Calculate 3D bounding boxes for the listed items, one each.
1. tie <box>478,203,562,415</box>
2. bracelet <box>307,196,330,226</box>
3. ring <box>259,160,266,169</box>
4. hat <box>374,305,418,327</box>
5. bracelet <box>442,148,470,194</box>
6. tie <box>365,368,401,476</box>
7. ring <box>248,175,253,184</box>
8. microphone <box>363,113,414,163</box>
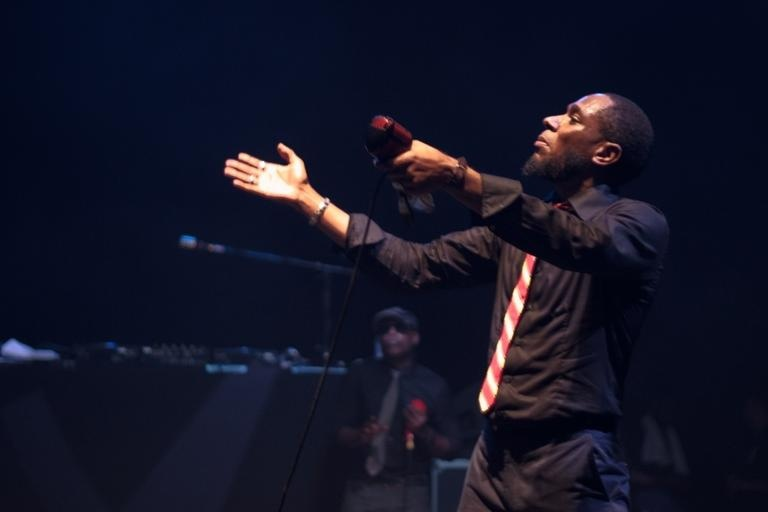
[{"bbox_3d":[0.623,0.230,3.595,0.140,1.030,0.040,19,-8,44],"label":"tie"},{"bbox_3d":[-0.297,-0.211,3.795,0.033,0.108,0.109,31,22,4],"label":"bracelet"},{"bbox_3d":[-0.579,-0.437,3.861,0.034,0.035,0.009,1,-9,0],"label":"ring"},{"bbox_3d":[0.075,0.386,5.205,0.169,0.173,0.082,-5,-1,18],"label":"hat"},{"bbox_3d":[0.310,-0.354,3.459,0.053,0.123,0.091,14,14,6],"label":"bracelet"},{"bbox_3d":[0.007,1.039,5.103,0.133,0.665,0.044,15,-23,0],"label":"tie"},{"bbox_3d":[-0.631,-0.360,3.812,0.024,0.034,0.012,6,1,-10],"label":"ring"},{"bbox_3d":[0.018,-0.494,3.524,0.216,0.211,0.157,19,-5,-25],"label":"microphone"}]
